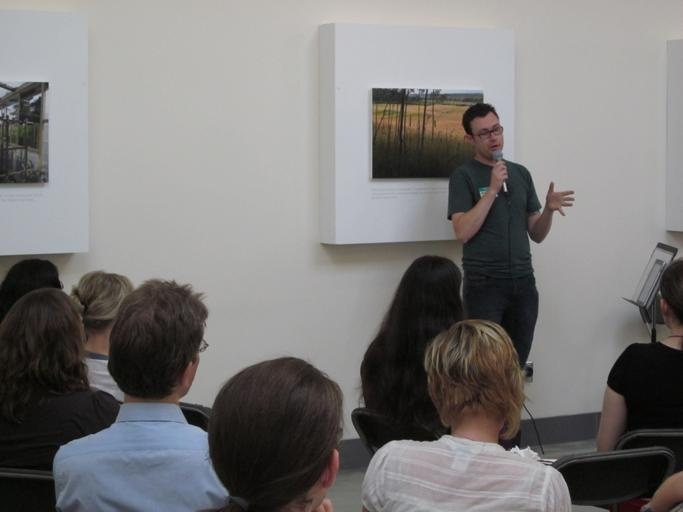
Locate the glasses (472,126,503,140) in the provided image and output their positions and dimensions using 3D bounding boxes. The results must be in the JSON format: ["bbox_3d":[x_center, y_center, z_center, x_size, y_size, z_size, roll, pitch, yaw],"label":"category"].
[{"bbox_3d":[0.882,-0.757,3.659,0.184,0.108,0.084,3,8,6],"label":"glasses"}]

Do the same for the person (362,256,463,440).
[{"bbox_3d":[0.365,0.500,2.783,0.460,1.038,0.517,8,36,20],"label":"person"}]

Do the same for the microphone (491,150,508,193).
[{"bbox_3d":[0.991,-0.528,3.737,0.111,0.254,0.319,5,8,18],"label":"microphone"}]
